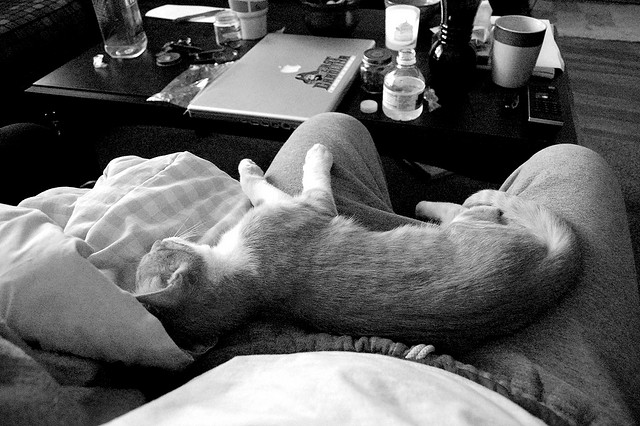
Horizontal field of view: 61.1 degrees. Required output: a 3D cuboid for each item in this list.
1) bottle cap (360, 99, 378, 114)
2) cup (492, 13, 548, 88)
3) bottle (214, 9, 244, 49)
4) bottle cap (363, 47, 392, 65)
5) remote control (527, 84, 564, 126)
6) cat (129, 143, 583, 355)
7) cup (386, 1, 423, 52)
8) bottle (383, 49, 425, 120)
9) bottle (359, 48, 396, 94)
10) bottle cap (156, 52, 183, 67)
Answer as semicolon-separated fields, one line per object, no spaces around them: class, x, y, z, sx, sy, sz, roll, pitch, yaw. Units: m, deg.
bottle cap;0.163;-0.362;1.843;0.049;0.017;0.047;6;39;15
cup;0.690;-0.547;1.885;0.188;0.190;0.182;0;29;0
bottle;-0.363;-0.726;2.138;0.114;0.138;0.148;-1;37;-1
bottle cap;0.187;-0.545;1.865;0.076;0.017;0.075;16;39;24
remote control;0.724;-0.347;1.755;0.127;0.040;0.189;8;49;-1
cat;0.091;0.096;1.375;0.878;0.218;0.559;2;46;15
cup;0.313;-0.713;2.094;0.132;0.138;0.144;0;44;0
bottle;0.280;-0.440;1.821;0.150;0.240;0.144;-2;47;2
bottle;0.211;-0.522;1.942;0.121;0.151;0.158;6;47;11
bottle cap;-0.580;-0.590;2.084;0.095;0.026;0.064;-8;44;-8
